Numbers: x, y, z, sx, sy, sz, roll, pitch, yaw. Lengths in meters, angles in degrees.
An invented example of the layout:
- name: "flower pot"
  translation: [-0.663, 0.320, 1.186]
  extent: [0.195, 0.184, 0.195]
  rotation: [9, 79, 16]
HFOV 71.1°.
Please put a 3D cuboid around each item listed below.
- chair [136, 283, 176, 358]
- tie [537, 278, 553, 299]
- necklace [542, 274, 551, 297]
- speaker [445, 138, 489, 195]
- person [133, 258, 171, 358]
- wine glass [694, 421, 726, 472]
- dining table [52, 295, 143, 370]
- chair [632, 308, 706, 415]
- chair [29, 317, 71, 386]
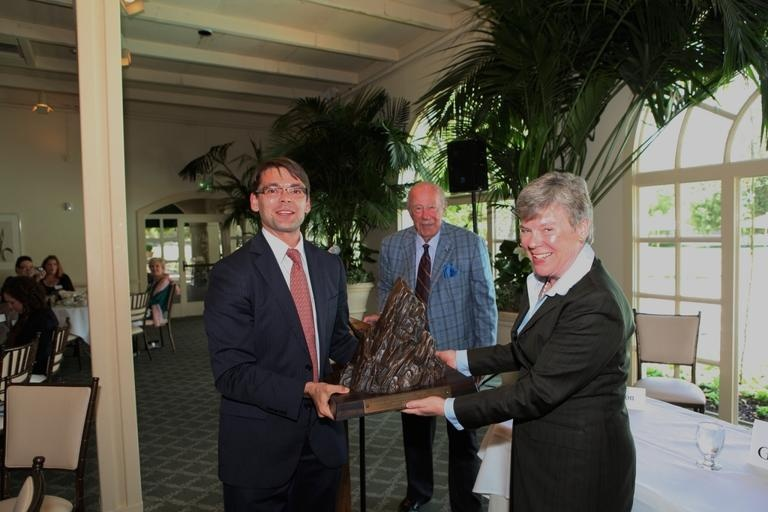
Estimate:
- name: "chair"
  translation: [-3.628, 1.023, 8.478]
  extent: [0.655, 1.036, 0.719]
  rotation: [-7, 9, -13]
- name: "tie"
  translation: [0.840, 0.161, 2.800]
  extent: [0.056, 0.072, 0.098]
  rotation: [-8, -15, 17]
- name: "necklace"
  translation: [0.846, 0.162, 2.822]
  extent: [0.038, 0.085, 0.047]
  rotation: [8, 3, -23]
- name: "speaker"
  translation: [0.787, -0.918, 5.094]
  extent: [0.350, 0.527, 0.271]
  rotation: [-4, 35, 10]
- name: "person"
  translation: [-3.693, 0.781, 8.495]
  extent: [0.695, 1.394, 0.588]
  rotation: [4, -3, -44]
- name: "wine glass"
  translation: [1.761, 1.025, 2.910]
  extent: [0.141, 0.246, 0.153]
  rotation: [2, -7, 7]
- name: "dining table"
  translation: [-3.768, 0.800, 7.101]
  extent: [1.116, 0.955, 1.209]
  rotation: [1, -4, -18]
- name: "chair"
  translation: [2.435, 1.105, 4.627]
  extent: [0.581, 1.265, 0.675]
  rotation: [0, -3, 33]
- name: "chair"
  translation: [-3.377, 0.972, 5.348]
  extent: [0.385, 0.650, 0.373]
  rotation: [9, 7, -7]
